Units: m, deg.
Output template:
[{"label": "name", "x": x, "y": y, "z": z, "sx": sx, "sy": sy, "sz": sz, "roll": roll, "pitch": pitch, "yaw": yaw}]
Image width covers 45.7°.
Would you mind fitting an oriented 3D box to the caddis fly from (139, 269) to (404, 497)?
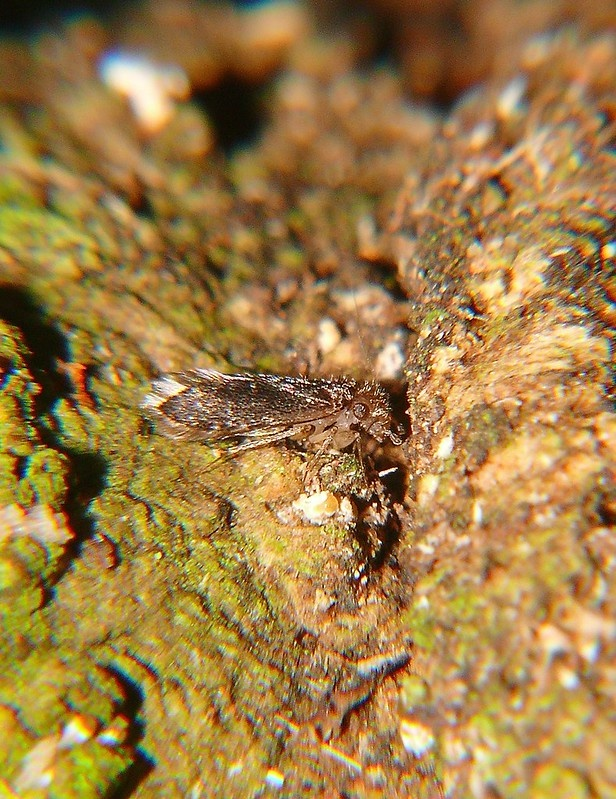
[{"label": "caddis fly", "x": -0.099, "y": 0.035, "z": 2.339, "sx": 0.864, "sy": 0.499, "sz": 0.259, "roll": 8, "pitch": -62, "yaw": 22}]
